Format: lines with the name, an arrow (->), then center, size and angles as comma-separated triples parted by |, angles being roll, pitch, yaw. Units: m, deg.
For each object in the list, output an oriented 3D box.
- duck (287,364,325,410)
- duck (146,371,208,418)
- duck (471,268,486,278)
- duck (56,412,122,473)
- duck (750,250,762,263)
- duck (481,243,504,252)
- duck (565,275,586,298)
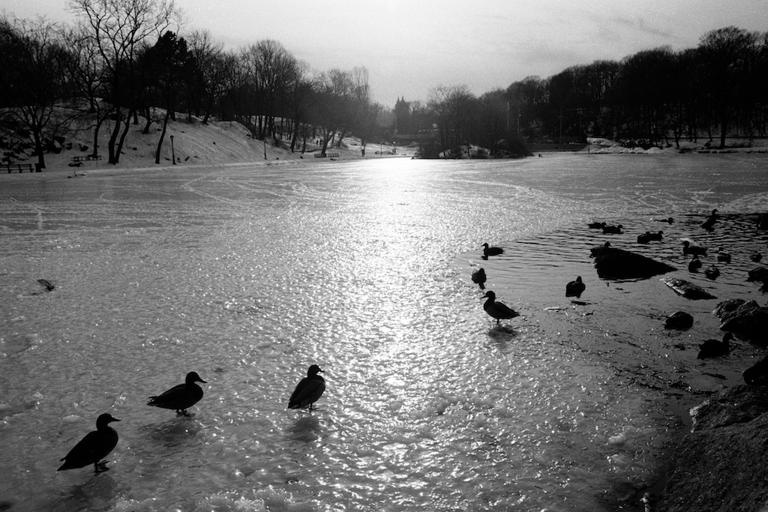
duck -> -1.435, 2.445, 12.034 | 0.752, 0.535, 0.379 | -34, 30, -26
duck -> -3.738, 2.498, 11.799 | 1.103, 0.796, 0.558 | -4, 2, -22
duck -> 2.493, 0.437, 16.940 | 0.310, 0.217, 0.228 | 0, 11, -1
duck -> -4.819, 3.087, 10.939 | 1.190, 0.867, 0.625 | -11, 13, -23
duck -> 11.273, 0.031, 19.637 | 0.364, 0.227, 0.502 | 21, 24, 32
duck -> 3.374, -0.245, 20.010 | 0.643, 0.332, 0.425 | -2, 13, -6
duck -> 4.837, 0.727, 16.414 | 0.462, 0.462, 0.643 | 4, 13, 17
